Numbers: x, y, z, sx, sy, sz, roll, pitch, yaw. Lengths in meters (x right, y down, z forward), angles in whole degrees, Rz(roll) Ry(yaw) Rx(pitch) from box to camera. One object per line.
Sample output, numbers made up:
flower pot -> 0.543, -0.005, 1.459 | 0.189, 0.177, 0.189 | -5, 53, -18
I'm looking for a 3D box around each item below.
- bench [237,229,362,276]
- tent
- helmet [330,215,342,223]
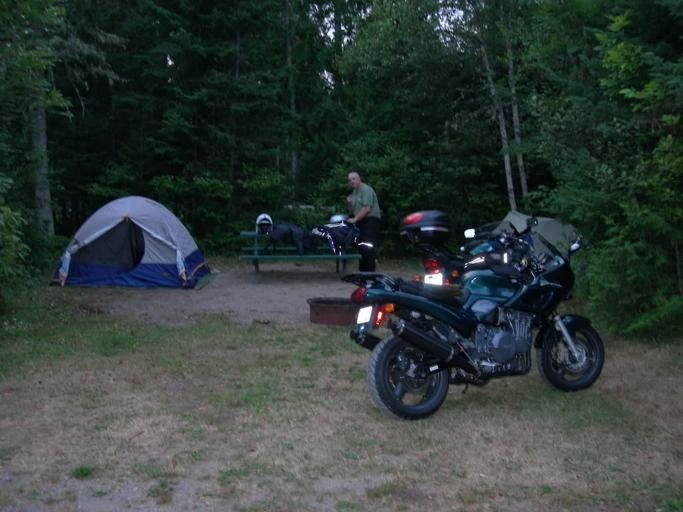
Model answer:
bench -> -1.390, -0.097, 18.442 | 3.460, 1.456, 1.263 | 3, 8, -8
tent -> -4.623, -0.142, 15.403 | 2.366, 1.474, 2.194 | 1, 2, 2
helmet -> -0.102, -0.768, 14.681 | 0.204, 0.185, 0.222 | -2, 13, -4
